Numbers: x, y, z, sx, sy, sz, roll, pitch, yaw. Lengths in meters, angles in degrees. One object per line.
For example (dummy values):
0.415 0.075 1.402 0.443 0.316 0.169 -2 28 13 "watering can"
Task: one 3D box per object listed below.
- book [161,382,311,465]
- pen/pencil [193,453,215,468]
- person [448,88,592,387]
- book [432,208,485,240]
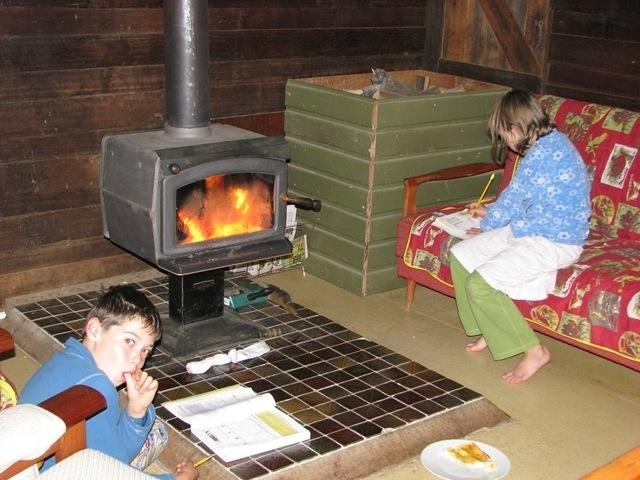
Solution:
-0.353 0.692 2.059 0.428 0.053 0.595 -4 10 -44 "book"
-0.404 0.760 1.766 0.185 0.028 0.017 -27 -14 37 "pen/pencil"
0.950 -0.035 2.460 0.580 1.267 0.682 14 29 25 "person"
0.763 -0.092 2.771 0.196 0.046 0.189 -18 38 -31 "book"
